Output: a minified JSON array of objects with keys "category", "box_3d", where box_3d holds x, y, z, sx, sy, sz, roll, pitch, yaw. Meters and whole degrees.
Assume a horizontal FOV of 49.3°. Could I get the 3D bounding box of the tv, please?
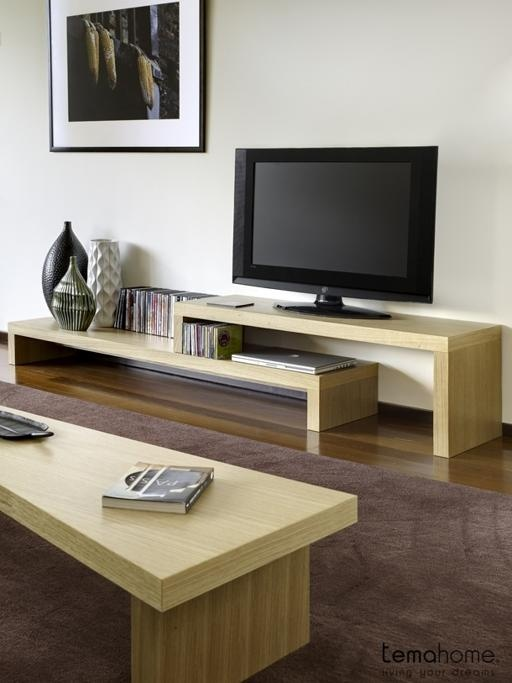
[{"category":"tv","box_3d":[0.443,-0.572,2.897,0.892,0.660,0.244,9,11,38]}]
